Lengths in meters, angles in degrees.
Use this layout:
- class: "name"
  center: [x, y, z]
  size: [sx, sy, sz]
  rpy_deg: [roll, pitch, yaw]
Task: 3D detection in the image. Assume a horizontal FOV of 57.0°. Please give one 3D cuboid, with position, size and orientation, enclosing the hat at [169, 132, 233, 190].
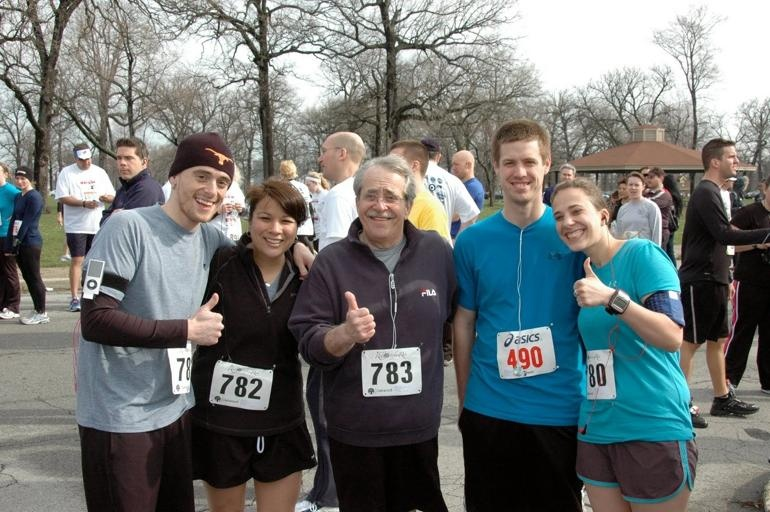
- class: "hat"
  center: [-1.314, -0.680, 5.044]
  size: [0.371, 0.268, 0.366]
  rpy_deg: [5, -10, -42]

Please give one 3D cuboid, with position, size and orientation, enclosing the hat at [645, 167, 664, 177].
- class: "hat"
  center: [4.662, -1.451, 12.253]
  size: [0.214, 0.201, 0.171]
  rpy_deg: [10, 6, 19]

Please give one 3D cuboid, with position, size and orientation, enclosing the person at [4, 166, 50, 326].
- class: "person"
  center: [-5.536, -0.124, 10.971]
  size: [0.522, 2.211, 1.286]
  rpy_deg: [-2, 3, -27]
